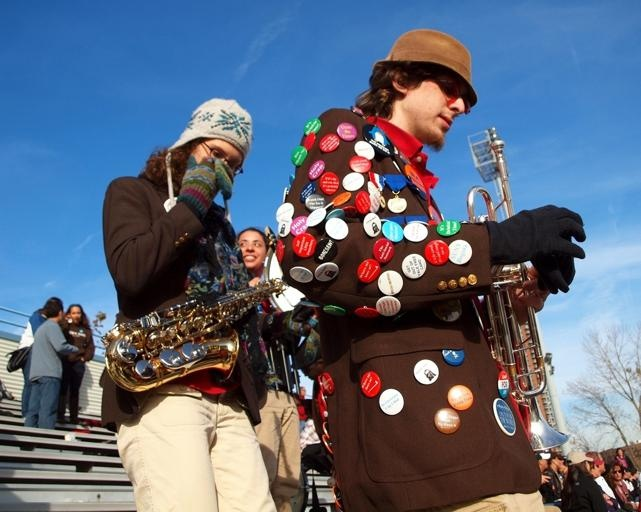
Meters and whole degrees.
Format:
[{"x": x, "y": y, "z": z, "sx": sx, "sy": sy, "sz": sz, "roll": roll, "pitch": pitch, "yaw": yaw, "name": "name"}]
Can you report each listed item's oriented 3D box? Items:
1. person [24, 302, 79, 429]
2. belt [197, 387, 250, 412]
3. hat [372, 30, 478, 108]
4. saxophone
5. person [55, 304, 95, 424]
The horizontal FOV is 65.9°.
[{"x": -4.178, "y": 1.591, "z": 7.674, "sx": 0.589, "sy": 1.994, "sz": 1.230, "roll": 8, "pitch": -18, "yaw": -30, "name": "person"}, {"x": -0.480, "y": 0.724, "z": 2.545, "sx": 0.187, "sy": 0.105, "sz": 0.158, "roll": 21, "pitch": -10, "yaw": -11, "name": "belt"}, {"x": 0.547, "y": -1.013, "z": 2.618, "sx": 0.527, "sy": 0.289, "sz": 0.416, "roll": 12, "pitch": -3, "yaw": 17, "name": "hat"}, {"x": -0.557, "y": 0.423, "z": 2.611, "sx": 1.026, "sy": 0.439, "sz": 0.260, "roll": -15, "pitch": 8, "yaw": -35, "name": "saxophone"}, {"x": -4.418, "y": 1.888, "z": 8.890, "sx": 0.685, "sy": 2.050, "sz": 0.583, "roll": 9, "pitch": -11, "yaw": -41, "name": "person"}]
